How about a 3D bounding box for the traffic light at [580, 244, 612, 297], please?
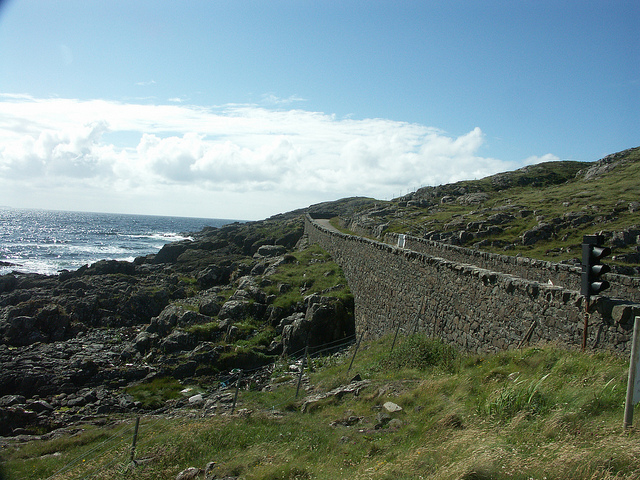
[{"bbox_3d":[7.830,0.871,12.961,0.685,1.477,0.851,1,-5,30],"label":"traffic light"}]
